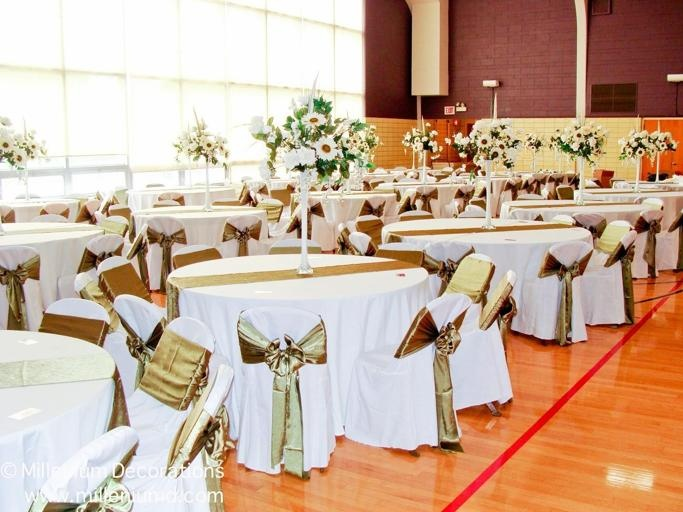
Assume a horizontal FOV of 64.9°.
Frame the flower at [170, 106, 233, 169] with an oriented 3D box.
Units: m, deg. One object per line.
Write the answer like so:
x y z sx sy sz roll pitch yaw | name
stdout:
-1.676 -1.427 6.282 0.338 0.473 0.349 -18 43 -40 | flower

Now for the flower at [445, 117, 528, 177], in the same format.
1.446 -1.001 5.036 0.552 0.491 0.571 3 15 -29 | flower

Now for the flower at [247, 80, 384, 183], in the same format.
-0.185 -0.726 3.182 0.719 0.573 0.323 -2 12 -10 | flower

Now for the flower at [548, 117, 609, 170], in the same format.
2.766 -1.353 6.206 0.384 0.447 0.388 6 15 44 | flower
